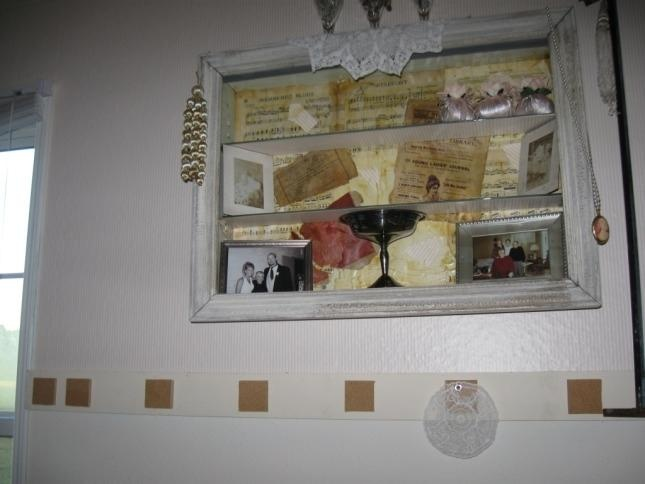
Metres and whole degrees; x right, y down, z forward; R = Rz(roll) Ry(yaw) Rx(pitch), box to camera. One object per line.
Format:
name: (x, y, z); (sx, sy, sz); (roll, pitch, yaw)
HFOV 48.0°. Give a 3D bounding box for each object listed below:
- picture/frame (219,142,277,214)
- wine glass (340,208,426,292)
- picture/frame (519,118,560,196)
picture/frame: (-0.318, -0.260, 2.902); (0.245, 0.294, 0.019); (7, -18, -41)
wine glass: (0.221, -0.022, 2.798); (0.279, 0.262, 0.301); (5, -22, -20)
picture/frame: (0.828, -0.326, 2.742); (0.014, 0.327, 0.224); (10, -14, -25)
